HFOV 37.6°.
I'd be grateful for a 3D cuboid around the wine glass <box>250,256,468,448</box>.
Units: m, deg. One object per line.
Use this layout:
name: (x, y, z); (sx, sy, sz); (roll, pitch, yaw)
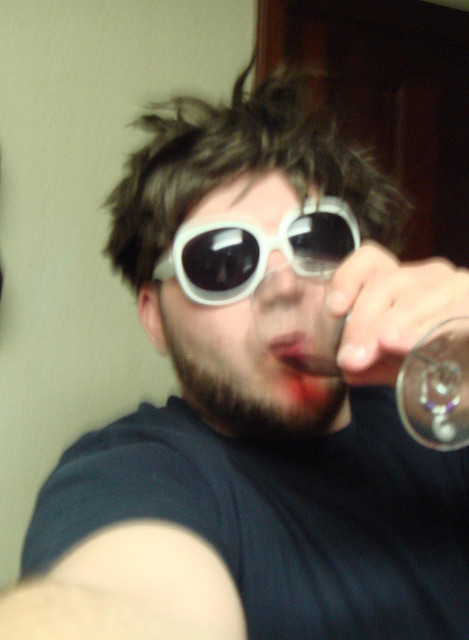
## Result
wine glass: (0.085, 0.013, 0.528); (0.096, 0.099, 0.217); (7, 17, -27)
